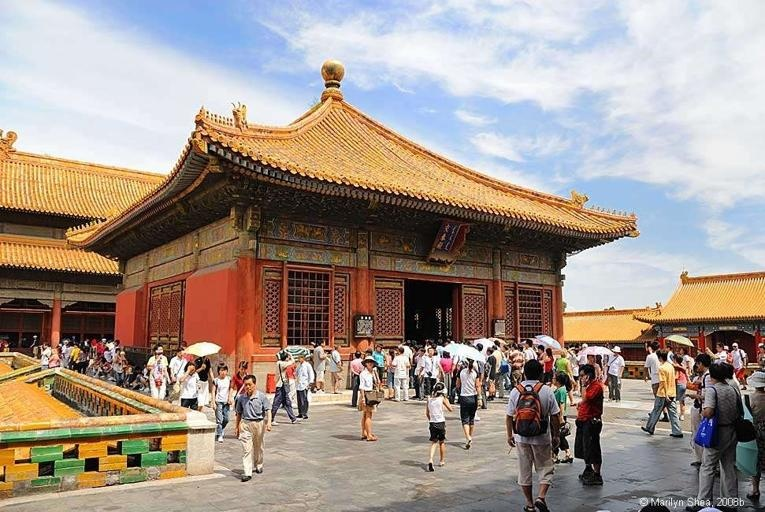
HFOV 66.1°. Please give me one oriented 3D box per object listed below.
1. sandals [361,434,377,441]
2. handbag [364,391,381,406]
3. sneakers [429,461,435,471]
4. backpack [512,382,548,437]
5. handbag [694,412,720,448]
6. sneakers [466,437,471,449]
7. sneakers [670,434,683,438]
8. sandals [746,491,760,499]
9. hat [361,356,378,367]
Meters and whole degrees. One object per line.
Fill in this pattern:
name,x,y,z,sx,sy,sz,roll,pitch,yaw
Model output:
sandals,-0.347,4.307,13.956,0.273,0.086,0.167,-5,-10,20
handbag,-0.320,3.415,14.175,0.364,0.146,0.382,2,-3,-25
sneakers,0.936,4.126,11.545,0.071,0.186,0.080,-1,24,6
backpack,2.437,2.542,9.727,0.522,0.856,0.272,-2,-12,15
handbag,5.322,2.893,9.681,0.350,0.509,0.197,-6,-13,30
sneakers,1.940,4.278,13.299,0.096,0.114,0.271,-3,-45,0
sneakers,7.208,4.405,14.412,0.096,0.116,0.260,11,-9,-42
sandals,6.499,4.195,10.311,0.203,0.103,0.182,-3,-12,19
hat,-0.362,2.622,14.869,0.476,0.136,0.470,4,-34,-5
